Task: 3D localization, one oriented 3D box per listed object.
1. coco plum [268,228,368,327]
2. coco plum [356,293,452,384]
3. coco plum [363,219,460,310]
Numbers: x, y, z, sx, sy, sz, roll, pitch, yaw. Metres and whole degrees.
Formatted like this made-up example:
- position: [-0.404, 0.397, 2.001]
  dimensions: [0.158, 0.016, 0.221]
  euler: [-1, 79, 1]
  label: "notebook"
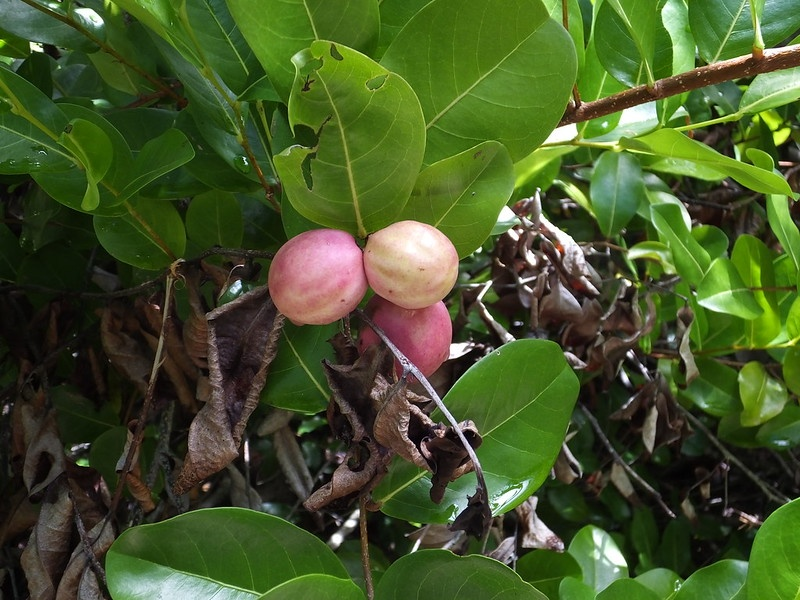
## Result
- position: [-0.128, -0.021, 1.142]
  dimensions: [0.122, 0.137, 0.156]
  euler: [-19, 0, -22]
  label: "coco plum"
- position: [0.034, 0.056, 1.181]
  dimensions: [0.108, 0.129, 0.103]
  euler: [-6, 11, 11]
  label: "coco plum"
- position: [0.014, -0.050, 1.127]
  dimensions: [0.125, 0.108, 0.100]
  euler: [14, 5, 18]
  label: "coco plum"
